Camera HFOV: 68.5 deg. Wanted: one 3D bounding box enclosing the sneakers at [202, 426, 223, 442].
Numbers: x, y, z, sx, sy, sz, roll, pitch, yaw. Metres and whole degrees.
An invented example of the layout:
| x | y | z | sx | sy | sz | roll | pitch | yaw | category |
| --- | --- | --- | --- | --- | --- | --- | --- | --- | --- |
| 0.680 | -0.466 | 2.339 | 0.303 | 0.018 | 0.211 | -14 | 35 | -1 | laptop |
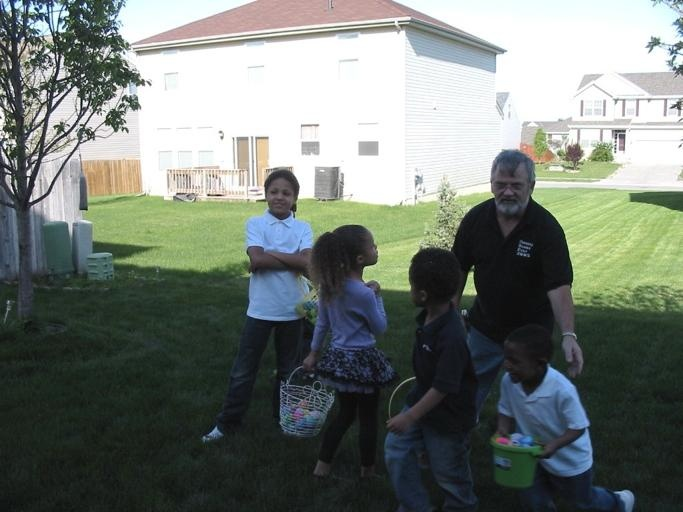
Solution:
| x | y | z | sx | sy | sz | roll | pitch | yaw | category |
| --- | --- | --- | --- | --- | --- | --- | --- | --- | --- |
| -1.099 | 1.524 | 4.253 | 0.213 | 0.079 | 0.095 | -35 | -18 | 36 | sneakers |

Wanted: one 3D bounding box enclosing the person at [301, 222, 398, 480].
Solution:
| x | y | z | sx | sy | sz | roll | pitch | yaw | category |
| --- | --- | --- | --- | --- | --- | --- | --- | --- | --- |
| 0.067 | 0.731 | 3.774 | 0.667 | 1.917 | 0.372 | -2 | 8 | -5 | person |

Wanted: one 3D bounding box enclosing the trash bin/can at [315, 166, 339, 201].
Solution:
| x | y | z | sx | sy | sz | roll | pitch | yaw | category |
| --- | --- | --- | --- | --- | --- | --- | --- | --- | --- |
| -0.681 | -3.474 | 24.239 | 1.344 | 1.609 | 1.436 | 0 | 2 | -1 | trash bin/can |

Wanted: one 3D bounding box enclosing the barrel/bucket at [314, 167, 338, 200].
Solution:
| x | y | z | sx | sy | sz | roll | pitch | yaw | category |
| --- | --- | --- | --- | --- | --- | --- | --- | --- | --- |
| -0.586 | -3.553 | 24.393 | 1.327 | 1.577 | 1.378 | 0 | 5 | 0 | barrel/bucket |

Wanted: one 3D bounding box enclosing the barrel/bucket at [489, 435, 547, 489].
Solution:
| x | y | z | sx | sy | sz | roll | pitch | yaw | category |
| --- | --- | --- | --- | --- | --- | --- | --- | --- | --- |
| 1.072 | 1.284 | 3.051 | 0.281 | 0.231 | 0.304 | 2 | -2 | 0 | barrel/bucket |
